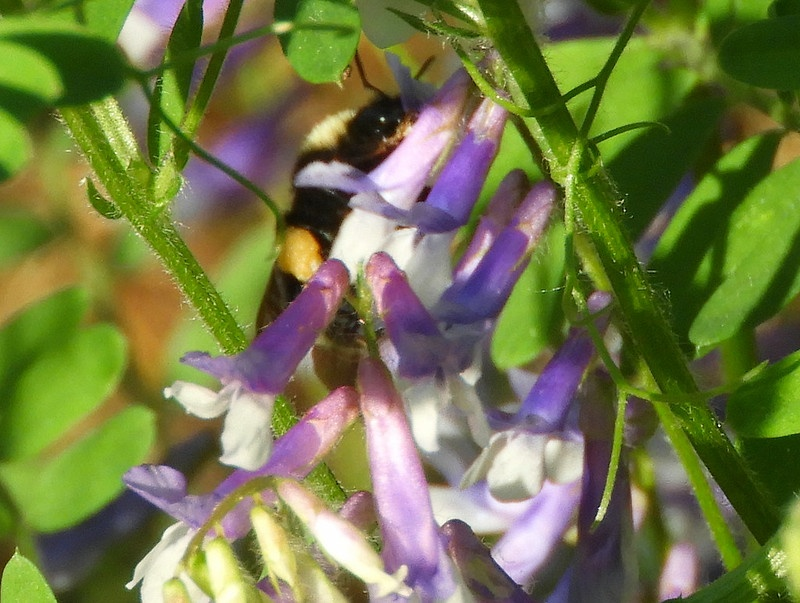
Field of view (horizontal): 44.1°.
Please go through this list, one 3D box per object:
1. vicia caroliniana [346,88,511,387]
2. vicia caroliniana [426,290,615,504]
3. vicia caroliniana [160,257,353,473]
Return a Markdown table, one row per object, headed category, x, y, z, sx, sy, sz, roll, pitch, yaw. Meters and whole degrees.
| category | x | y | z | sx | sy | sz | roll | pitch | yaw |
| --- | --- | --- | --- | --- | --- | --- | --- | --- | --- |
| vicia caroliniana | 0.009 | -0.067 | 0.978 | 0.161 | 0.311 | 0.121 | 0 | -4 | -34 |
| vicia caroliniana | 0.126 | 0.111 | 0.896 | 0.100 | 0.049 | 0.217 | 27 | 61 | -10 |
| vicia caroliniana | -0.106 | 0.044 | 0.860 | 0.102 | 0.079 | 0.283 | 19 | 27 | 3 |
